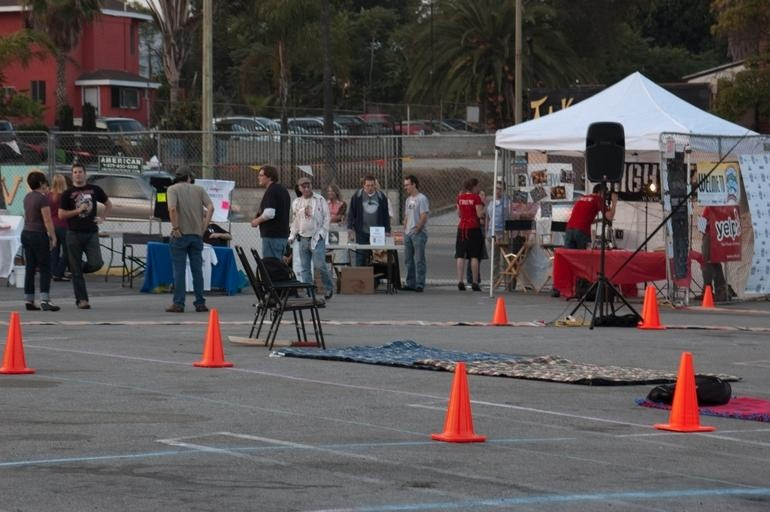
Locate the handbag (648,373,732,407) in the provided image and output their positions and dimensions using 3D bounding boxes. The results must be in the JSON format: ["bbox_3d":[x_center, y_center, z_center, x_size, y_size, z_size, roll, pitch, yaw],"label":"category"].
[{"bbox_3d":[6.399,2.757,36.042,1.280,0.497,0.744,-5,6,-30],"label":"handbag"}]

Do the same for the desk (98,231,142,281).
[{"bbox_3d":[-7.052,-0.079,47.319,1.409,1.817,0.849,2,0,2],"label":"desk"}]

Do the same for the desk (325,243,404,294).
[{"bbox_3d":[-0.580,0.253,46.698,2.636,1.307,2.559,1,3,-13],"label":"desk"}]

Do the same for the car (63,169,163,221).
[{"bbox_3d":[-7.368,-1.953,48.844,3.918,1.720,1.848,0,-1,-6],"label":"car"}]

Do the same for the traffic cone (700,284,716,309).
[{"bbox_3d":[8.163,0.948,43.857,0.317,0.550,0.616,0,2,11],"label":"traffic cone"}]

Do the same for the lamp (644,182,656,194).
[{"bbox_3d":[7.111,-1.862,46.438,0.320,0.279,0.107,0,2,9],"label":"lamp"}]

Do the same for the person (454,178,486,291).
[{"bbox_3d":[2.312,-0.618,46.369,0.732,2.958,1.137,0,2,2],"label":"person"}]

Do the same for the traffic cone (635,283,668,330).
[{"bbox_3d":[6.371,1.152,41.407,0.614,0.985,1.151,0,2,9],"label":"traffic cone"}]

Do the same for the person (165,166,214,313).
[{"bbox_3d":[-4.720,-0.458,42.432,1.162,3.503,0.810,-1,2,-19],"label":"person"}]

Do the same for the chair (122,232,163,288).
[{"bbox_3d":[-6.667,-0.031,46.801,0.866,1.861,1.276,2,-1,2],"label":"chair"}]

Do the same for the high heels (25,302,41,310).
[{"bbox_3d":[-8.490,1.169,42.192,0.297,0.123,0.160,0,3,-28],"label":"high heels"}]

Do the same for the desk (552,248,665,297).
[{"bbox_3d":[5.449,0.231,43.513,1.785,0.866,1.301,0,5,-4],"label":"desk"}]

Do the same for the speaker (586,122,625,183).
[{"bbox_3d":[5.220,-2.477,41.068,0.892,1.413,0.337,0,2,-1],"label":"speaker"}]

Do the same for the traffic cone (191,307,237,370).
[{"bbox_3d":[-3.685,1.696,37.803,0.822,1.244,0.884,0,2,-5],"label":"traffic cone"}]

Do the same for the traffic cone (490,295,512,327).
[{"bbox_3d":[2.828,1.246,41.428,0.511,0.672,0.613,1,6,11],"label":"traffic cone"}]
